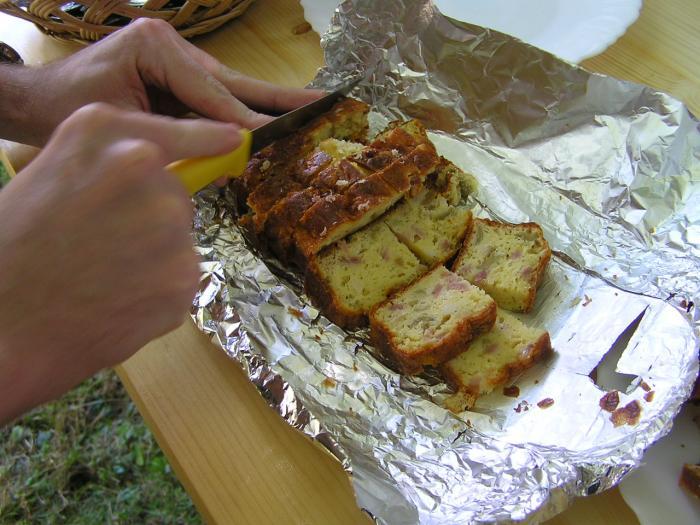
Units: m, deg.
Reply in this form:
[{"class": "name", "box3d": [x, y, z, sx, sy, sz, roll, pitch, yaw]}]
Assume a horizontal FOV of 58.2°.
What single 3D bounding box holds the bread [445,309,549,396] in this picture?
[{"class": "bread", "box3d": [0.777, 0.516, 3.386, 0.465, 0.344, 0.317, -28, 58, -34]}]
